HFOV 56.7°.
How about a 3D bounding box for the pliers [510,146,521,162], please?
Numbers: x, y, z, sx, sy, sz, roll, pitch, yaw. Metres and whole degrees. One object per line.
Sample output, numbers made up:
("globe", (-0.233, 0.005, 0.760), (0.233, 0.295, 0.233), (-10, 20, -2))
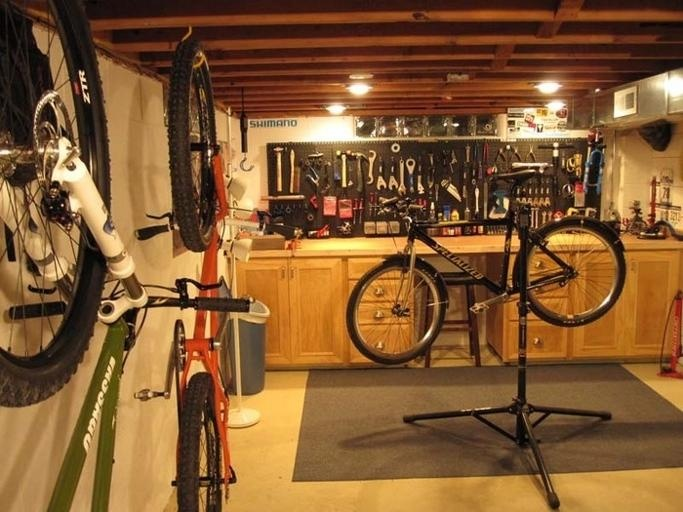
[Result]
("pliers", (1.651, -0.983, 6.021), (0.101, 0.139, 0.034), (1, 12, 13))

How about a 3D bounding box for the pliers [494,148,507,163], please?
("pliers", (1.509, -0.976, 6.038), (0.114, 0.165, 0.032), (1, 5, 15))

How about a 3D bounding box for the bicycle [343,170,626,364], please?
("bicycle", (0.961, 0.046, 4.386), (1.843, 1.210, 0.973), (-11, 8, 7))

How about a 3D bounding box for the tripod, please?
("tripod", (1.121, 0.523, 4.324), (1.556, 2.021, 1.478), (-1, 2, -12))

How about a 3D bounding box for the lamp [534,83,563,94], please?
("lamp", (1.565, -1.278, 4.805), (0.177, 0.090, 0.842), (3, 14, 18))

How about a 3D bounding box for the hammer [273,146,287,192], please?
("hammer", (-0.585, -0.830, 6.084), (0.104, 0.424, 0.053), (-3, 12, -8))

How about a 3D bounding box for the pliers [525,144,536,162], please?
("pliers", (1.789, -0.991, 6.021), (0.083, 0.169, 0.033), (-4, 0, 14))

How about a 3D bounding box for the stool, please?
("stool", (0.994, 0.547, 5.680), (0.460, 0.857, 0.480), (1, -2, 0))

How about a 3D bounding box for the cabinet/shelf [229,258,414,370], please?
("cabinet/shelf", (-0.152, 0.446, 5.616), (1.344, 0.974, 0.494), (-2, 1, 8))
